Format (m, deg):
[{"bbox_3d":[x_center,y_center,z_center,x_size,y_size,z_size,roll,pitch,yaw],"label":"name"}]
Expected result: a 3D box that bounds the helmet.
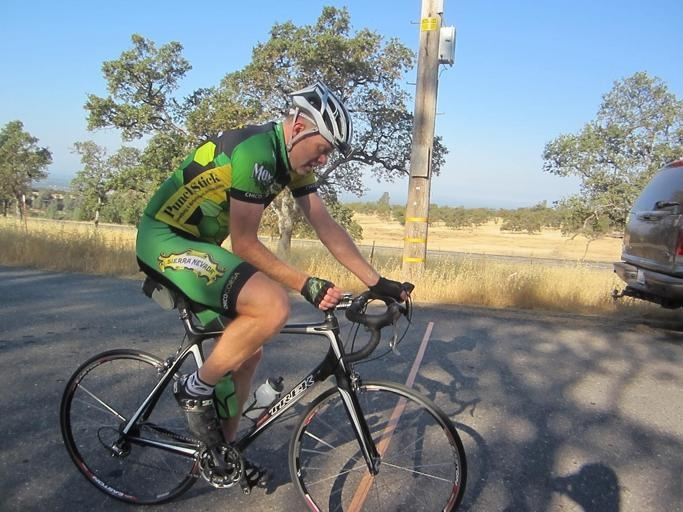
[{"bbox_3d":[-0.149,-0.956,3.154,0.443,0.494,0.242,1,11,-4],"label":"helmet"}]
